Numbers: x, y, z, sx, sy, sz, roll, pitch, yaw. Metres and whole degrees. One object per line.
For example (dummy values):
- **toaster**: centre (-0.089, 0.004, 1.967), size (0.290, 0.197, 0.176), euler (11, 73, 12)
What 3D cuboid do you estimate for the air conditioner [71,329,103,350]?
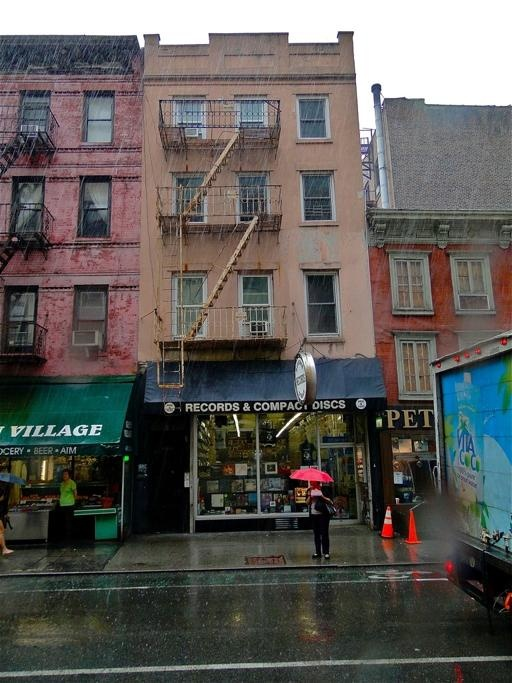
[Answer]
- **air conditioner**: centre (-4.409, -0.057, 14.367), size (0.671, 0.474, 0.486), euler (0, -1, 4)

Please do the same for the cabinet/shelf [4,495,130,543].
- **cabinet/shelf**: centre (-5.030, 4.465, 13.664), size (1.984, 1.142, 0.864), euler (-1, 2, -9)

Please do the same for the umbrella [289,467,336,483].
- **umbrella**: centre (1.177, 2.952, 12.266), size (0.802, 0.345, 0.926), euler (1, -20, 1)

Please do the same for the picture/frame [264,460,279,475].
- **picture/frame**: centre (0.375, 3.345, 14.581), size (0.421, 0.497, 0.248), euler (0, -21, -2)

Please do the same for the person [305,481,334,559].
- **person**: centre (1.249, 3.491, 10.777), size (0.463, 1.320, 0.782), euler (-2, -10, 5)
